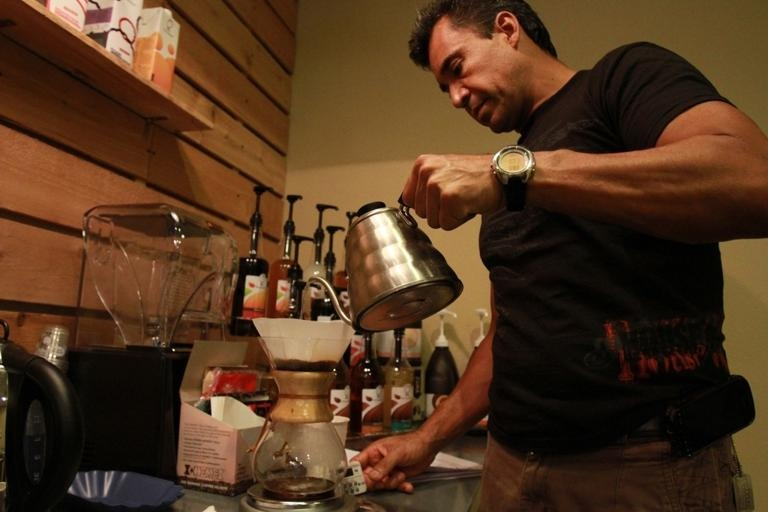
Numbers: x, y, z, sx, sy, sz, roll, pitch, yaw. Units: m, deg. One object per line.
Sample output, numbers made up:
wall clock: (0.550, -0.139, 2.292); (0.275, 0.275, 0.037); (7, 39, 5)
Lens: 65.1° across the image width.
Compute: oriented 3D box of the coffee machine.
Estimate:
coffee machine: (-0.677, 0.240, 1.750); (0.460, 0.753, 0.366); (4, -16, -14)

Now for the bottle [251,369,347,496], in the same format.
bottle: (-0.196, 0.438, 1.466); (0.223, 0.268, 0.212); (0, -10, 0)

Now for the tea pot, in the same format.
tea pot: (-0.020, 0.044, 1.579); (0.372, 0.274, 0.250); (-29, -31, 13)
